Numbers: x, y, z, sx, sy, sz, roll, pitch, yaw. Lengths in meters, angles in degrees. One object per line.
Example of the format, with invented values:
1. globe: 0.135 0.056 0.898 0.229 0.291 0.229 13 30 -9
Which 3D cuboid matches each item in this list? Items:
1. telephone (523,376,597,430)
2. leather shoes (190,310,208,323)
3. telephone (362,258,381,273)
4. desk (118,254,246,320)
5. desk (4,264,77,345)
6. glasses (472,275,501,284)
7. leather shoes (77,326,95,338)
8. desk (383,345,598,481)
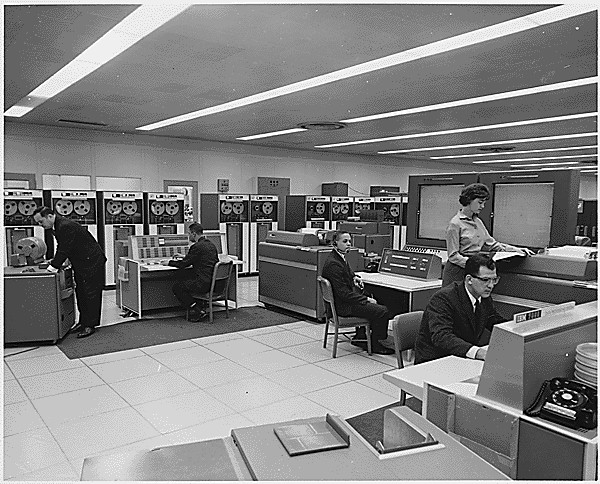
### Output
1. telephone: 1.287 0.759 1.998 0.246 0.108 0.214 7 14 44
2. leather shoes: -1.742 1.214 7.056 0.264 0.273 0.209 -1 4 -2
3. telephone: 1.154 0.363 6.634 0.203 0.116 0.359 -3 0 36
4. desk: -2.530 0.799 7.270 1.613 0.886 1.160 -2 4 -38
5. desk: -3.653 0.825 5.978 0.859 0.994 1.401 -2 8 -22
6. glasses: 1.381 0.277 3.136 0.105 0.032 0.108 1 4 -31
7. leather shoes: -3.102 1.289 6.042 0.111 0.078 0.214 2 1 2
8. desk: 0.967 0.887 2.241 0.465 0.448 1.026 -2 6 -23
